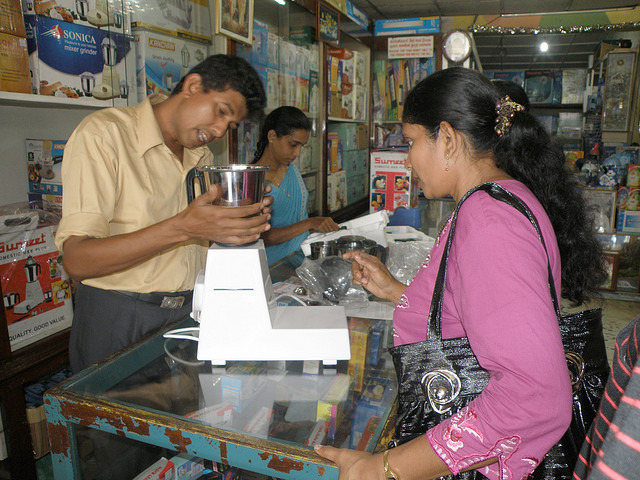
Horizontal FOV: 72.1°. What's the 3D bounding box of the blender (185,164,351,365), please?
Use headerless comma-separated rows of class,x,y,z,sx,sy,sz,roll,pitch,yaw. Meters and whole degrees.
blender,-0.206,0.064,1.588,0.577,0.668,0.394,-3,11,-3

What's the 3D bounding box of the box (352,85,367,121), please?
box,0.488,-1.879,6.015,0.220,0.404,0.406,-3,18,-12

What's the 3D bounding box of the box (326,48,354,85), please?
box,0.277,-2.140,5.407,0.191,0.370,0.361,9,17,25

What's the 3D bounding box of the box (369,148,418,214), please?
box,0.579,-0.552,3.510,0.360,0.667,0.355,4,45,13

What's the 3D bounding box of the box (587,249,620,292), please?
box,3.217,0.387,4.899,0.139,0.402,0.399,5,-3,3

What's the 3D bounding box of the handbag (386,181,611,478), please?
handbag,0.512,0.233,1.203,0.671,0.779,0.308,-1,11,6

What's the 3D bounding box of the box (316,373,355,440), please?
box,0.049,0.503,1.353,0.062,0.098,0.191,7,11,19

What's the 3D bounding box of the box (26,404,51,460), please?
box,-1.439,0.990,2.259,0.051,0.295,0.084,6,13,36

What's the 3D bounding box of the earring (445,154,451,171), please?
earring,0.374,-0.229,1.296,0.008,0.048,0.009,-10,13,-35

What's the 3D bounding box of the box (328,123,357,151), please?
box,0.302,-1.333,5.550,0.312,0.439,0.601,1,5,15

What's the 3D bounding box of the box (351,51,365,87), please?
box,0.434,-2.234,5.784,0.204,0.396,0.392,8,16,23

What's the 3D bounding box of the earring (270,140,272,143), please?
earring,-0.366,-0.743,3.290,0.015,0.017,0.004,13,-7,-4

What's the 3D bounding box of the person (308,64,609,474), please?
person,0.542,0.069,1.953,0.989,2.066,1.096,-1,4,21
